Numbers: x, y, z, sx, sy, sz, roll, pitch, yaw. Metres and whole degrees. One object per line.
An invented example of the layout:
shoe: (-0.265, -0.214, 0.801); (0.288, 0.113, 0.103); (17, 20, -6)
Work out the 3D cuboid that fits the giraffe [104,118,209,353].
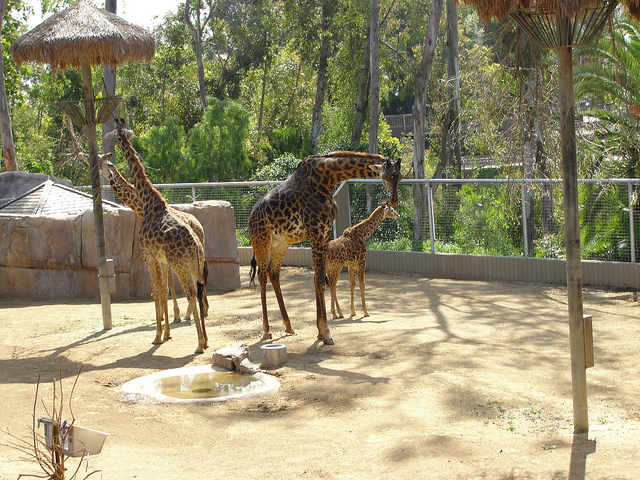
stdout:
giraffe: (-2.670, 0.241, 15.626); (0.827, 2.894, 2.492); (-8, 16, -32)
